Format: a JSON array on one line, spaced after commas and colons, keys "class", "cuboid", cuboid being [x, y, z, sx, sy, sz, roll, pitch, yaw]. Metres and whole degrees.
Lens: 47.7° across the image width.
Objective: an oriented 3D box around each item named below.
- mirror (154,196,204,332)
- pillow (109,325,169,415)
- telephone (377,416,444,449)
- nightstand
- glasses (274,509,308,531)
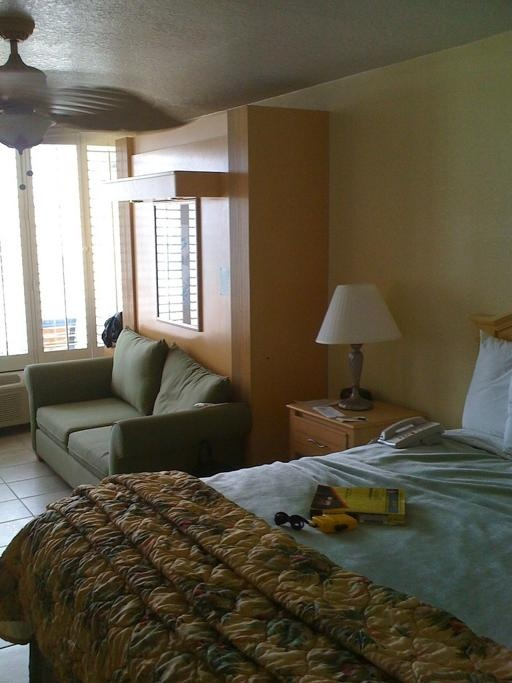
[{"class": "mirror", "cuboid": [-0.520, -0.565, 4.011, 0.051, 1.000, 0.951, -4, 6, -27]}, {"class": "pillow", "cuboid": [-0.798, 0.219, 3.986, 0.185, 0.390, 0.567, -7, 14, -25]}, {"class": "telephone", "cuboid": [0.633, 0.371, 2.356, 0.171, 0.070, 0.127, -28, 9, -11]}, {"class": "nightstand", "cuboid": [0.474, 0.370, 3.013, 0.368, 0.432, 0.480, -4, 10, -23]}, {"class": "glasses", "cuboid": [0.088, 0.501, 1.619, 0.069, 0.027, 0.048, 8, -1, -44]}]
